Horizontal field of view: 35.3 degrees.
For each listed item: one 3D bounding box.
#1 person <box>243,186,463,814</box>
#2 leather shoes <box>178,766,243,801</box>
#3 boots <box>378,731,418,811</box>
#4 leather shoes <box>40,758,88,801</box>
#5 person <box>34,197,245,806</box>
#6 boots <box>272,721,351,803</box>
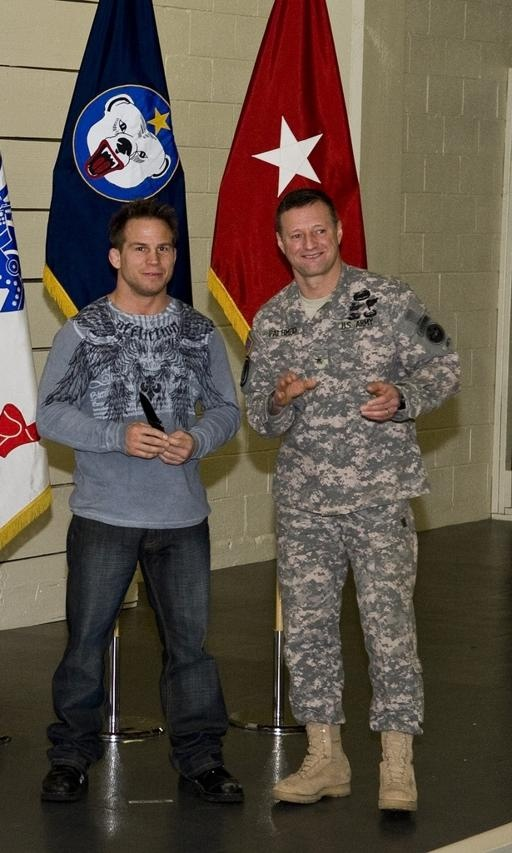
[{"bbox_3d":[0.186,0.252,1.937,0.319,1.350,0.460,4,-3,-39],"label":"person"},{"bbox_3d":[-0.118,0.878,2.019,0.069,0.067,0.181,5,-7,-34],"label":"leather shoes"},{"bbox_3d":[0.331,0.808,1.888,0.083,0.149,0.231,-5,-5,13],"label":"boots"},{"bbox_3d":[-0.469,0.863,1.967,0.059,0.062,0.155,0,-9,5],"label":"leather shoes"},{"bbox_3d":[-0.267,0.184,1.988,0.422,1.483,0.453,1,-3,37],"label":"person"},{"bbox_3d":[0.135,0.833,2.011,0.215,0.186,0.088,2,-12,-29],"label":"boots"}]
